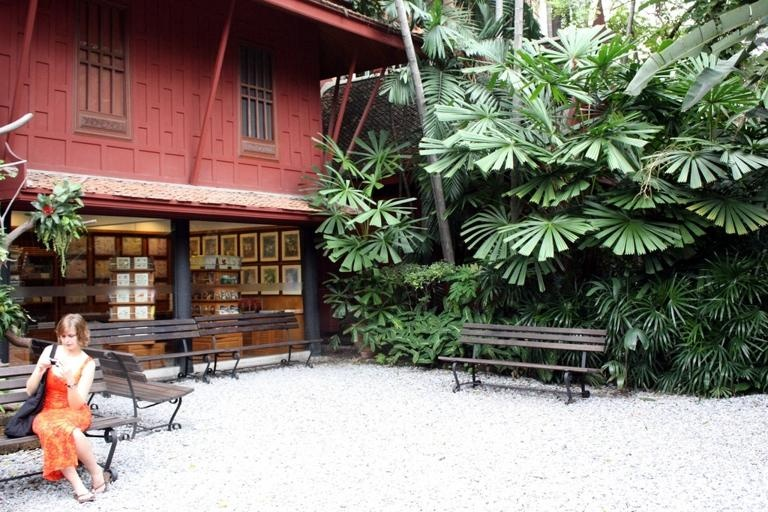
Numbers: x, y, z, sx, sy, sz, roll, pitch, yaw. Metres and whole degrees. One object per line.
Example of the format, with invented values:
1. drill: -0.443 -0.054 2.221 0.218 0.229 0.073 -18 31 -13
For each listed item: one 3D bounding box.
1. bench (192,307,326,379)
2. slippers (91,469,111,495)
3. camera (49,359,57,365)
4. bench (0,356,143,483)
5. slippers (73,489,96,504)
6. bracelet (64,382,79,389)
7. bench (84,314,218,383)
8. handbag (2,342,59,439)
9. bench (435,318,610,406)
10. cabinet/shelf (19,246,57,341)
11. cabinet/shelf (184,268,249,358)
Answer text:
1. bench: -2.277 1.606 10.246 0.877 0.929 2.308 2 -2 40
2. slippers: -2.678 2.146 5.201 0.094 0.101 0.279 7 8 -9
3. camera: -3.101 0.989 5.130 0.075 0.042 0.038 0 -9 -4
4. bench: -3.166 1.664 5.534 1.473 0.670 0.617 4 -2 -45
5. slippers: -2.740 2.201 5.031 0.162 0.098 0.089 -1 -3 -13
6. bracelet: -2.944 1.212 5.151 0.089 0.038 0.081 0 -6 -14
7. bench: -3.635 1.596 8.879 0.902 1.001 2.295 4 -4 18
8. handbag: -3.377 1.389 5.143 0.421 0.610 0.132 -3 -3 18
9. bench: 2.074 1.565 8.292 2.508 0.866 0.828 -4 -1 44
10. cabinet/shelf: -6.678 0.847 10.523 0.692 1.959 1.087 2 9 -29
11. cabinet/shelf: -3.589 1.111 11.788 1.383 1.731 1.246 -2 -5 16
